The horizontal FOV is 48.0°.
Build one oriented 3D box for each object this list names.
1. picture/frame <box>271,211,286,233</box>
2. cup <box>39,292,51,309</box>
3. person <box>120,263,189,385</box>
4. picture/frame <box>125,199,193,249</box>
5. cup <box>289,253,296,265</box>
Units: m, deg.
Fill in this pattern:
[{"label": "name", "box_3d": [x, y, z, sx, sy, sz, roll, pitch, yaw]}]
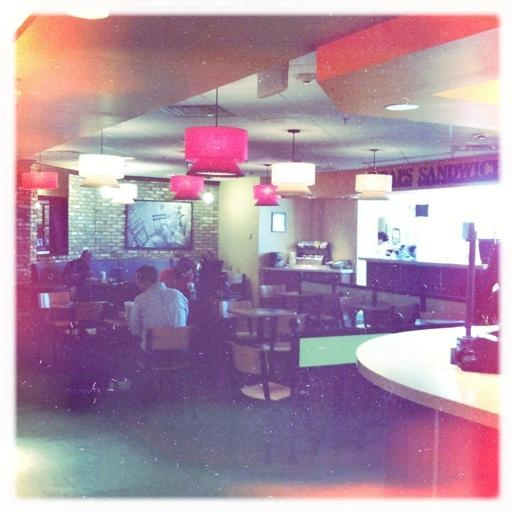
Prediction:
[{"label": "picture/frame", "box_3d": [0.477, -0.731, 12.292, 0.398, 0.399, 0.049, 12, -3, -28]}, {"label": "cup", "box_3d": [-3.225, 0.660, 8.729, 0.250, 0.301, 0.257, 0, -1, 0]}, {"label": "person", "box_3d": [-0.925, 0.622, 5.352, 0.548, 0.992, 1.114, 10, -3, -12]}, {"label": "picture/frame", "box_3d": [-2.264, -0.732, 12.960, 1.105, 0.801, 0.028, 0, -1, -32]}, {"label": "cup", "box_3d": [0.757, 0.063, 12.094, 0.172, 0.247, 0.101, 10, -3, -7]}]
